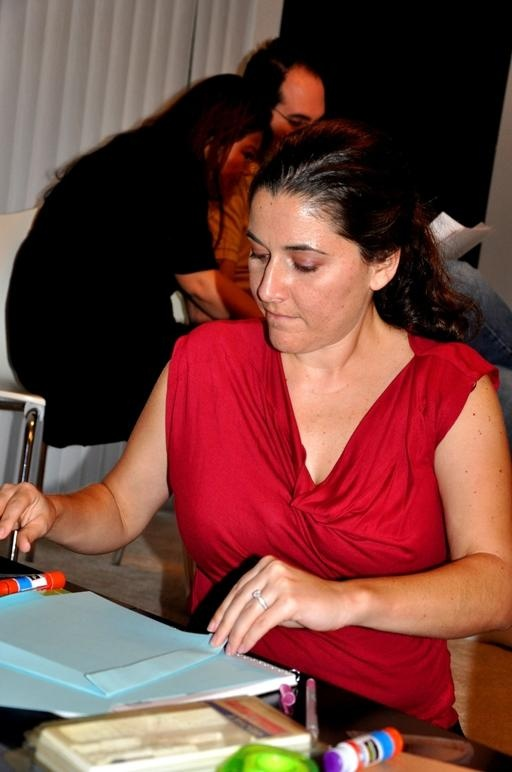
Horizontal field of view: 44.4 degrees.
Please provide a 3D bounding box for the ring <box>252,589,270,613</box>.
[{"bbox_3d":[0.004,0.179,0.519,0.011,0.004,0.012,47,-12,30],"label":"ring"}]
